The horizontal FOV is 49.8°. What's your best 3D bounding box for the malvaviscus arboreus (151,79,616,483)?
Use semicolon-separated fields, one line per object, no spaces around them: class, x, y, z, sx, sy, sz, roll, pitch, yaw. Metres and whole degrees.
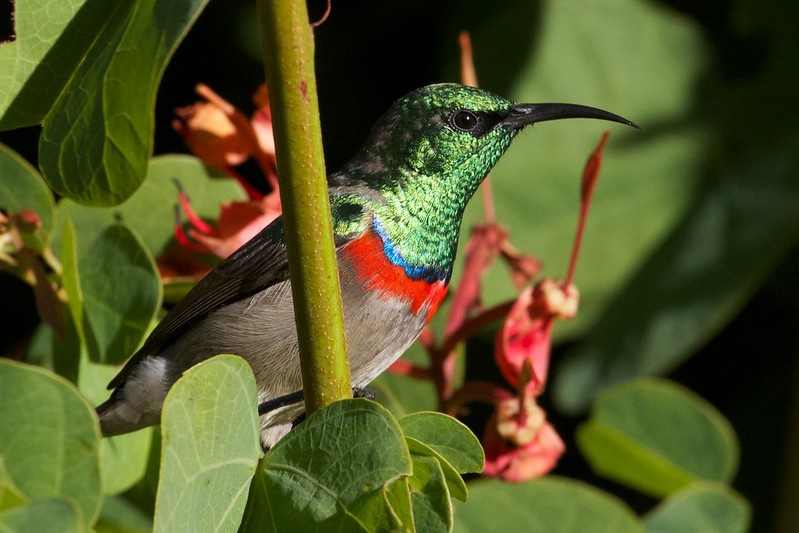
malvaviscus arboreus;0.026;0.063;3.458;1.577;1.322;1.124;0;-7;22
